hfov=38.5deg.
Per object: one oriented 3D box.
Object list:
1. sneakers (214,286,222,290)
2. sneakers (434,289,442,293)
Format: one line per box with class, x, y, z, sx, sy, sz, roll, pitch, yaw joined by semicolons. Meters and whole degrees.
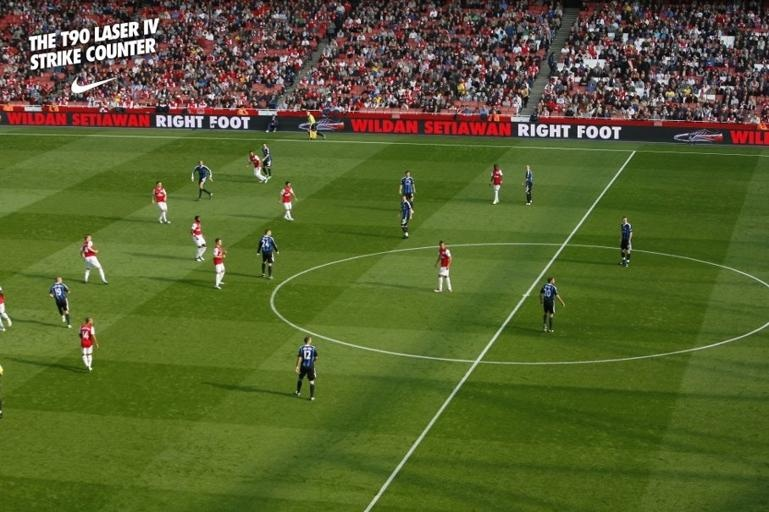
sneakers;-7.893;1.458;52.515;0.277;0.105;0.088;7;55;15
sneakers;2.594;1.617;52.117;0.408;0.161;0.136;2;4;15
